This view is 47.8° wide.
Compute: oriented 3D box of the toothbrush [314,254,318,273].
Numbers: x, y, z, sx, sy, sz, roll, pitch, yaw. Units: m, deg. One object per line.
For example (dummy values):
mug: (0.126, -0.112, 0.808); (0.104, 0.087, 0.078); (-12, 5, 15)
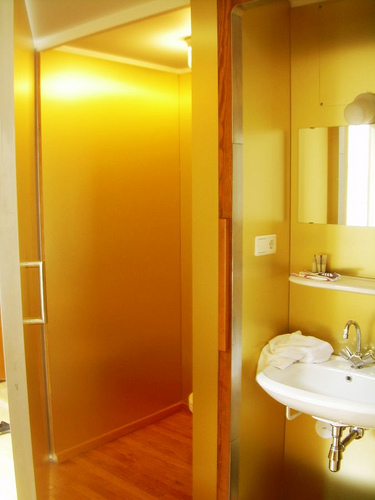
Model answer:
toothbrush: (0.528, 0.057, 1.736); (0.007, 0.067, 0.024); (-2, 2, -16)

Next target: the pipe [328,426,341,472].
pipe: (0.539, 0.719, 1.534); (0.041, 0.185, 0.046); (4, 8, 17)

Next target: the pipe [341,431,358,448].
pipe: (0.599, 0.698, 1.566); (0.098, 0.042, 0.028); (-4, 3, -39)
